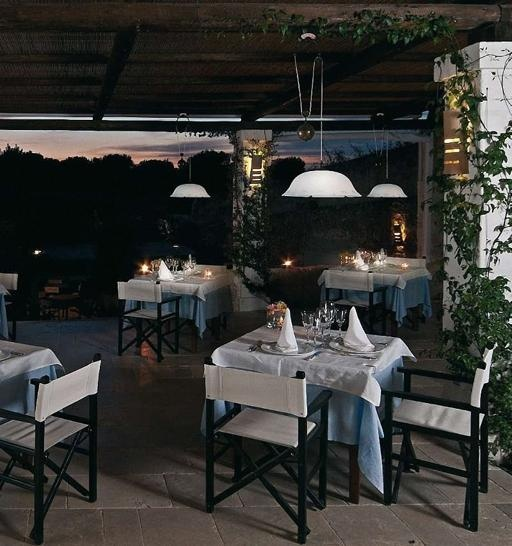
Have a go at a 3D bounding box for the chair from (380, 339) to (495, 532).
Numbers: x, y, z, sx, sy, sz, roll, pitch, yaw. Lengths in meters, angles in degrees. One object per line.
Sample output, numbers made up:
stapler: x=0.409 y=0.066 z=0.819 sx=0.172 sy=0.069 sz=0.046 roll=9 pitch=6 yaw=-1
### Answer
chair: x=1.061 y=0.868 z=3.713 sx=0.875 sy=1.264 sz=0.848 roll=2 pitch=3 yaw=23

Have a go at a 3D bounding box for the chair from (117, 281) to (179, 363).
chair: x=-1.151 y=0.471 z=6.332 sx=0.606 sy=0.744 sz=0.536 roll=2 pitch=0 yaw=10

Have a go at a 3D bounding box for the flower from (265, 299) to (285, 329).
flower: x=0.188 y=0.307 z=4.229 sx=0.171 sy=0.226 sz=0.166 roll=0 pitch=1 yaw=-44

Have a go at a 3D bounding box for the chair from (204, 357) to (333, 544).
chair: x=0.071 y=0.942 z=3.132 sx=0.753 sy=0.973 sz=0.607 roll=6 pitch=12 yaw=26

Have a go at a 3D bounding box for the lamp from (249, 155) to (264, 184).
lamp: x=0.015 y=-1.467 z=8.410 sx=0.194 sy=0.395 sz=0.181 roll=0 pitch=8 yaw=-1

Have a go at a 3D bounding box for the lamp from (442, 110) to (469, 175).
lamp: x=1.367 y=-0.890 z=4.005 sx=0.061 sy=0.434 sz=0.221 roll=-4 pitch=9 yaw=-27

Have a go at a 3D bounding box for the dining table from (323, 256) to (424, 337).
dining table: x=1.545 y=0.285 z=7.301 sx=0.950 sy=0.783 sz=1.372 roll=1 pitch=4 yaw=43

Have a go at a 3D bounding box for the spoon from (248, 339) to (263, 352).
spoon: x=-0.001 y=0.449 z=3.672 sx=0.029 sy=0.029 sz=0.213 roll=-2 pitch=12 yaw=15

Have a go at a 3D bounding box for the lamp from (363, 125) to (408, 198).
lamp: x=1.665 y=-1.355 z=7.411 sx=0.640 sy=0.826 sz=0.621 roll=0 pitch=4 yaw=0

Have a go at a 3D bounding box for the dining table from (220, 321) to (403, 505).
dining table: x=0.459 y=0.851 z=3.797 sx=1.497 sy=0.667 sz=1.468 roll=5 pitch=-2 yaw=7
